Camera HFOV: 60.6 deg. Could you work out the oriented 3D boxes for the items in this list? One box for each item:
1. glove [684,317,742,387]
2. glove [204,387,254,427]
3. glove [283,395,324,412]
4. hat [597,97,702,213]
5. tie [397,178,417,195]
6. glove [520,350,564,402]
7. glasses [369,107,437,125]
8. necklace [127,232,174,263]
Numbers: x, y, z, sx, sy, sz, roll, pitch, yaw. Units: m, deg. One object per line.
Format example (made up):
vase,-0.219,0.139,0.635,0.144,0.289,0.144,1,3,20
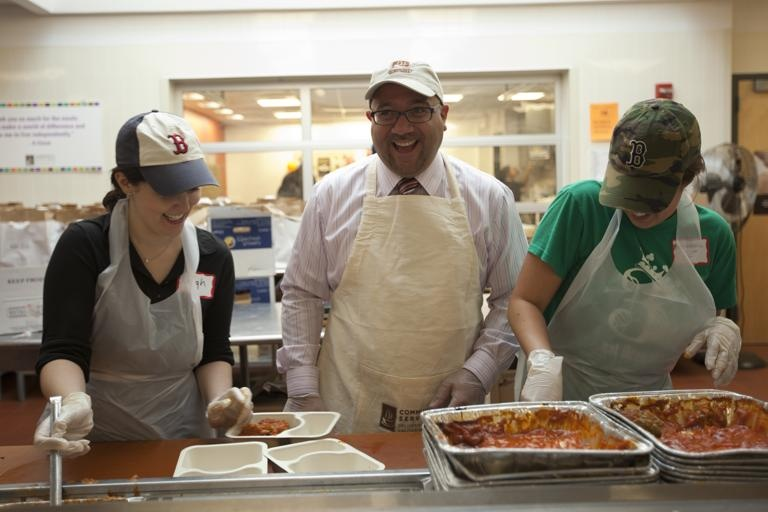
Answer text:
glove,1.302,0.372,2.628,0.194,0.326,0.097,24,-29,3
glove,-0.620,0.603,2.624,0.091,0.168,0.107,28,27,-27
glove,-0.350,0.638,2.822,0.170,0.074,0.110,-2,9,-3
hat,1.028,-0.368,2.523,0.293,0.468,0.259,20,-19,35
tie,0.096,-0.305,2.874,0.088,0.060,0.022,-21,-7,3
glove,0.607,0.460,2.525,0.187,0.228,0.129,4,-18,9
glasses,0.077,-0.592,2.777,0.277,0.074,0.062,-1,9,2
necklace,-0.931,-0.031,2.661,0.119,0.125,0.164,-2,10,-7
